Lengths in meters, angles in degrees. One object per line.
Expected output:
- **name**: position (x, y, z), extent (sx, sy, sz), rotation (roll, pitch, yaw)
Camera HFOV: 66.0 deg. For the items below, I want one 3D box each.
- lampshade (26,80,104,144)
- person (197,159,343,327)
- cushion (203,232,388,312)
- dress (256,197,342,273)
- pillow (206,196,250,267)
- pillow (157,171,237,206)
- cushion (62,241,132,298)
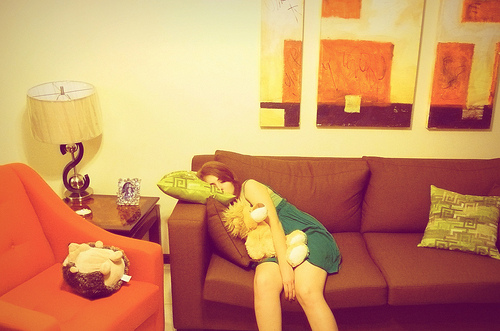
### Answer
- **lampshade**: position (-1.504, -0.450, 3.169), extent (0.543, 0.485, 0.512), rotation (-7, 16, -23)
- **person**: position (0.163, 0.452, 3.018), extent (0.670, 0.631, 1.508), rotation (-19, 42, -11)
- **cushion**: position (0.318, 0.819, 2.863), extent (1.271, 0.336, 0.502), rotation (-2, 15, -4)
- **dress**: position (0.427, 0.523, 2.897), extent (0.556, 0.490, 0.419), rotation (7, 18, 8)
- **pillow**: position (-0.187, 0.468, 2.789), extent (0.284, 0.416, 0.454), rotation (-1, 15, -10)
- **pillow**: position (-0.431, 0.157, 2.975), extent (0.456, 0.242, 0.533), rotation (4, 19, -15)
- **cushion**: position (-0.975, 0.658, 2.451), extent (0.387, 0.157, 0.308), rotation (21, 39, 16)
